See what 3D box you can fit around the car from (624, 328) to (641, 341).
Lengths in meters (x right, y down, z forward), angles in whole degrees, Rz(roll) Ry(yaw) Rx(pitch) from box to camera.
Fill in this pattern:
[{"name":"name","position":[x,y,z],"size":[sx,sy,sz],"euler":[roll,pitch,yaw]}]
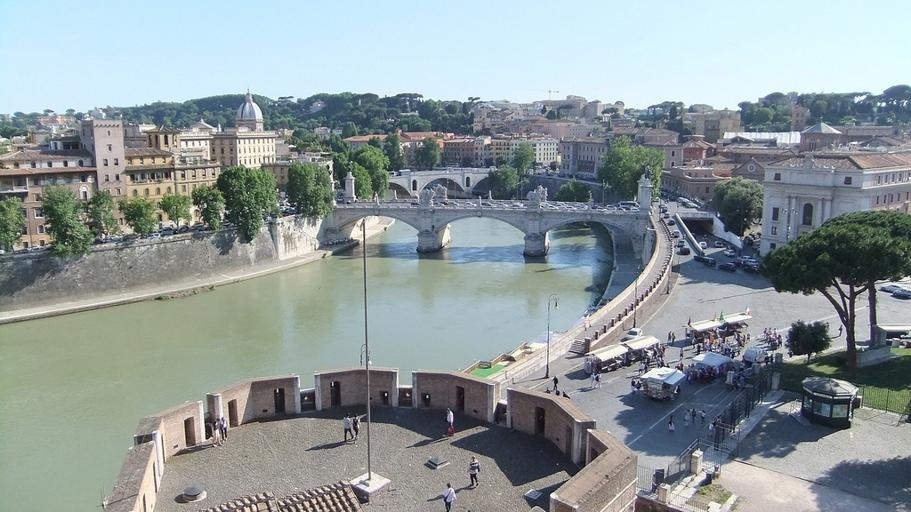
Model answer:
[{"name":"car","position":[17.249,7.545,67.604],"size":[0.949,0.702,1.702],"euler":[-1,1,34]}]

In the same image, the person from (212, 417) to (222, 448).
[{"name":"person","position":[-17.305,12.644,50.625],"size":[0.641,1.675,1.170],"euler":[-5,16,-19]}]

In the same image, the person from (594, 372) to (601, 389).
[{"name":"person","position":[12.313,10.677,60.523],"size":[0.573,1.013,1.199],"euler":[3,15,10]}]

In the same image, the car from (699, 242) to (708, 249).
[{"name":"car","position":[35.597,-1.566,100.198],"size":[1.079,0.846,1.841],"euler":[1,16,8]}]

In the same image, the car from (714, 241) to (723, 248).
[{"name":"car","position":[39.176,-1.762,103.776],"size":[0.990,0.780,1.774],"euler":[-2,-2,16]}]

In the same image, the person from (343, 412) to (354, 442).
[{"name":"person","position":[-7.756,12.412,50.937],"size":[0.792,1.743,1.094],"euler":[-2,15,-10]}]
